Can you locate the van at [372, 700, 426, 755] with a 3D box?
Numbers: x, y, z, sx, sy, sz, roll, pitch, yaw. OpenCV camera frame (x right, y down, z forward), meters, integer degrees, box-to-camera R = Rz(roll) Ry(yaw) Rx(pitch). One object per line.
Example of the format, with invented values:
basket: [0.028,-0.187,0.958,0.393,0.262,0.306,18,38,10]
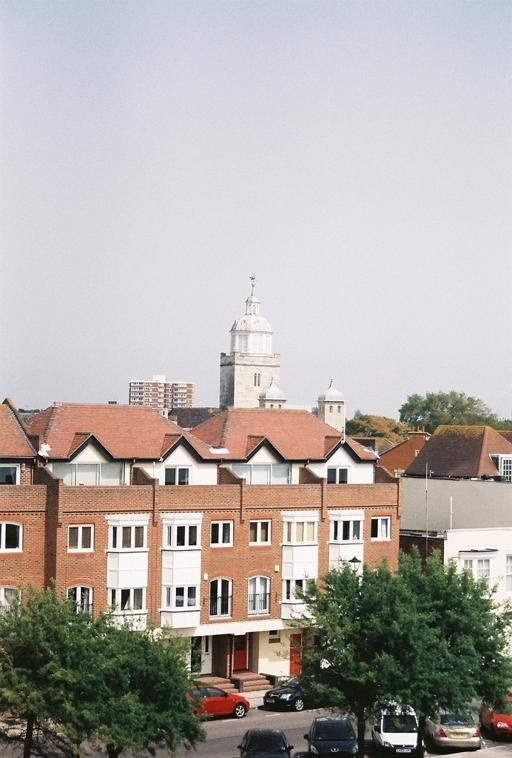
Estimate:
van: [4.761,12.019,64.398,1.629,1.599,5.791,-1,-13,4]
